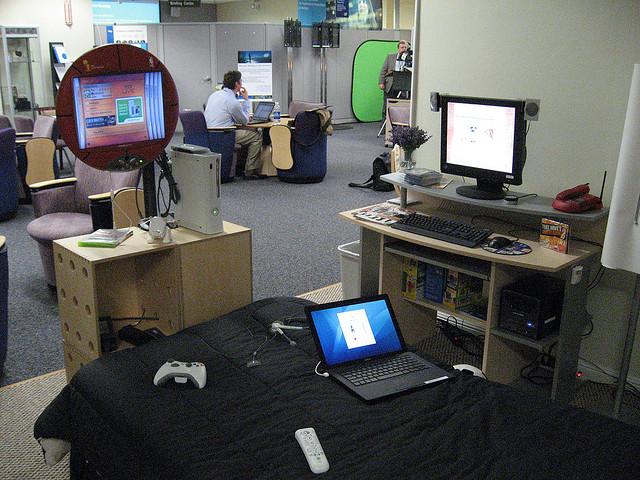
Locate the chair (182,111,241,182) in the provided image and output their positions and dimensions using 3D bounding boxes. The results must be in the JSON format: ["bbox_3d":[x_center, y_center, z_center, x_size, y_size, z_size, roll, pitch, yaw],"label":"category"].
[{"bbox_3d":[-1.451,-1.383,7.490,0.788,0.931,0.747,0,12,-6],"label":"chair"}]

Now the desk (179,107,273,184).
[{"bbox_3d":[-1.572,-1.325,7.429,0.869,0.816,1.028,1,3,20],"label":"desk"}]

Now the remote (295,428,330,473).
[{"bbox_3d":[-0.029,0.749,1.855,0.066,0.034,0.143,-2,34,-21],"label":"remote"}]

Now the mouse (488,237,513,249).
[{"bbox_3d":[1.007,0.005,2.885,0.123,0.043,0.144,9,22,23],"label":"mouse"}]

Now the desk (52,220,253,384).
[{"bbox_3d":[-0.968,0.317,3.240,1.031,0.669,0.925,-15,25,-30],"label":"desk"}]

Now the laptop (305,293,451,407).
[{"bbox_3d":[0.278,0.447,2.331,0.468,0.272,0.462,-10,24,-28],"label":"laptop"}]

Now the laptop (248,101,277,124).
[{"bbox_3d":[-0.936,-2.020,8.138,0.450,0.281,0.412,21,32,38],"label":"laptop"}]

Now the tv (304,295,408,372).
[{"bbox_3d":[0.178,0.433,2.460,0.432,0.266,0.317,-9,8,-24],"label":"tv"}]

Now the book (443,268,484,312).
[{"bbox_3d":[0.916,0.297,3.266,0.289,0.269,0.173,13,19,32],"label":"book"}]

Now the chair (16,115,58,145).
[{"bbox_3d":[-3.510,-1.395,6.503,0.326,0.317,0.677,-11,23,-28],"label":"chair"}]

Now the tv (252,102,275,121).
[{"bbox_3d":[-0.904,-2.038,8.133,0.362,0.272,0.306,17,19,31],"label":"tv"}]

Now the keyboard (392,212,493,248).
[{"bbox_3d":[0.710,-0.071,3.088,0.578,0.060,0.220,16,26,36],"label":"keyboard"}]

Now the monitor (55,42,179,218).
[{"bbox_3d":[-1.134,-0.508,2.910,0.672,1.223,0.198,-21,42,-39],"label":"monitor"}]

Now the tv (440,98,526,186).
[{"bbox_3d":[0.999,-0.612,3.107,0.064,0.421,0.479,-22,30,-40],"label":"tv"}]

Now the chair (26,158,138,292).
[{"bbox_3d":[-1.961,-0.103,4.237,0.977,0.959,0.711,17,26,38],"label":"chair"}]

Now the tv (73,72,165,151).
[{"bbox_3d":[-1.053,-0.718,2.721,0.006,0.455,0.611,14,23,25],"label":"tv"}]

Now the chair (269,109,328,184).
[{"bbox_3d":[-0.286,-1.450,7.697,1.033,1.102,0.827,21,28,39],"label":"chair"}]
